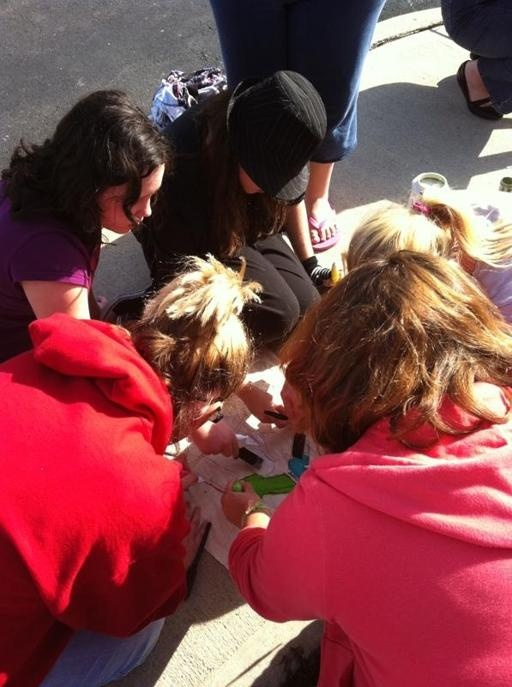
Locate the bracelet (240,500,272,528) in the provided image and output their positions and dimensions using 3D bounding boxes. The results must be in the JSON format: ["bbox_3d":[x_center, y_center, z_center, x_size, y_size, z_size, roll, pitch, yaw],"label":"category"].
[{"bbox_3d":[-0.001,0.529,1.797,0.083,0.037,0.106,-20,32,-9],"label":"bracelet"}]

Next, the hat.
[{"bbox_3d":[0.063,-0.610,1.782,0.289,0.379,0.236,-8,28,-13],"label":"hat"}]
